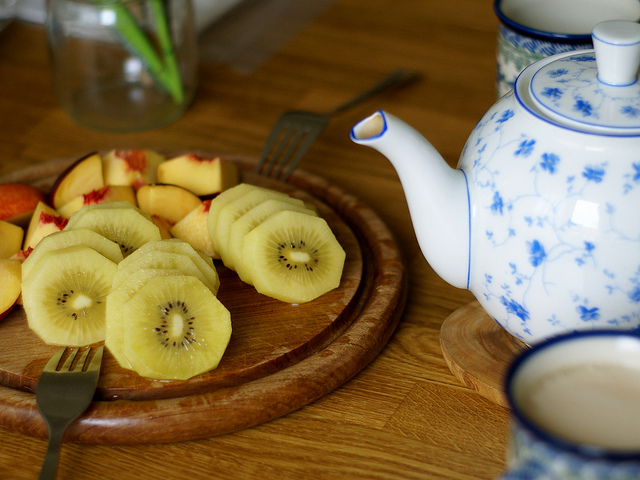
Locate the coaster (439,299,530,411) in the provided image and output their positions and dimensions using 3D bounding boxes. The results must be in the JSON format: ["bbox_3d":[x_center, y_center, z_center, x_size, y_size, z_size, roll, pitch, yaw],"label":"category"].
[{"bbox_3d":[0.178,0.124,0.679,0.080,0.050,0.122,-28,55,-13],"label":"coaster"}]

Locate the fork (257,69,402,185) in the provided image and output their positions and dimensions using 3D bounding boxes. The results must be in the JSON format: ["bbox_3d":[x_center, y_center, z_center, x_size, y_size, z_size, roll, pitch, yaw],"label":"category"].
[{"bbox_3d":[0.055,-0.241,1.171,0.081,0.068,0.524,42,45,5],"label":"fork"}]
